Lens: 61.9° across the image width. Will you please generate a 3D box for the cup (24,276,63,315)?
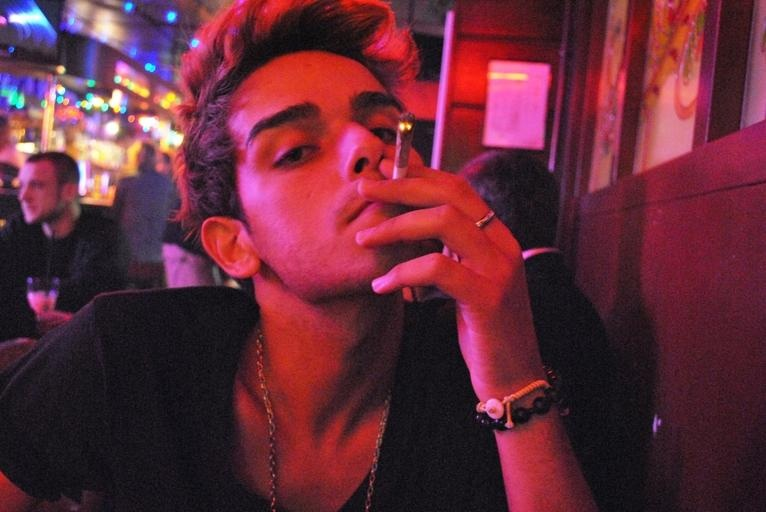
[{"bbox_3d":[-1.384,0.154,2.582,0.127,0.166,0.138,3,3,0],"label":"cup"}]
